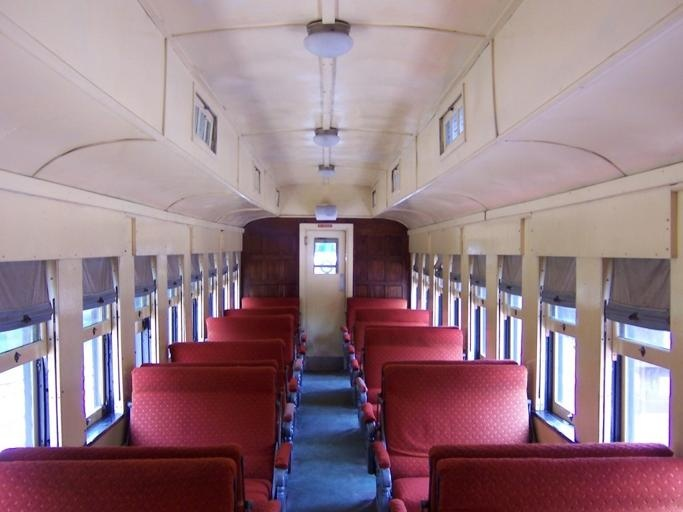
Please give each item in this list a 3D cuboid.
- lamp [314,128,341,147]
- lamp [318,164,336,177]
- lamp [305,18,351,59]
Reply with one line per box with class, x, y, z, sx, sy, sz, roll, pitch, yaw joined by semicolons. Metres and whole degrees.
lamp;-0.169;-1.294;5.622;0.283;0.144;0.342;-1;-1;-4
lamp;-0.223;-1.257;7.535;0.247;0.151;0.354;-1;-1;-3
lamp;-0.088;-1.446;3.386;0.300;0.120;0.313;0;3;31
